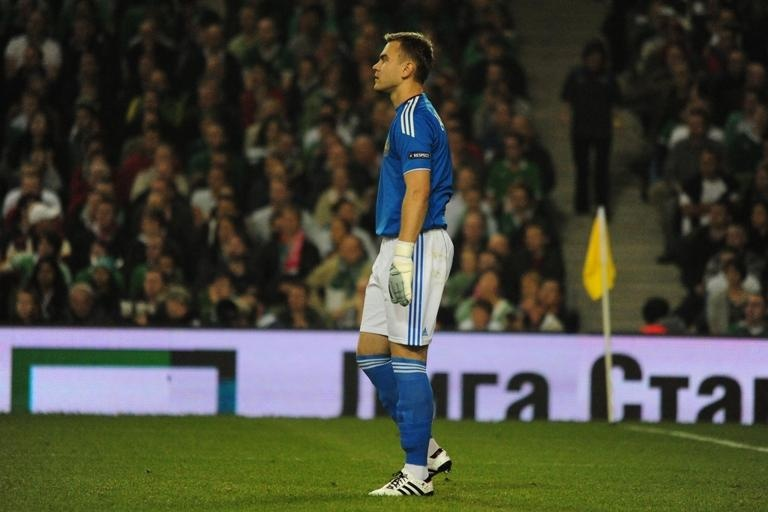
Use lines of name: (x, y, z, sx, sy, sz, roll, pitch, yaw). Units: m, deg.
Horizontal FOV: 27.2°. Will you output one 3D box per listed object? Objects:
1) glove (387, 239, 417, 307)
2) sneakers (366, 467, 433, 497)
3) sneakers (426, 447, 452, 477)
glove: (0.162, 0.153, 14.524, 0.225, 0.583, 0.145, 0, -7, -1)
sneakers: (0.170, 2.073, 14.641, 0.649, 0.256, 0.219, 1, -10, -5)
sneakers: (0.491, 1.925, 14.777, 0.132, 0.186, 0.339, -20, -14, -19)
